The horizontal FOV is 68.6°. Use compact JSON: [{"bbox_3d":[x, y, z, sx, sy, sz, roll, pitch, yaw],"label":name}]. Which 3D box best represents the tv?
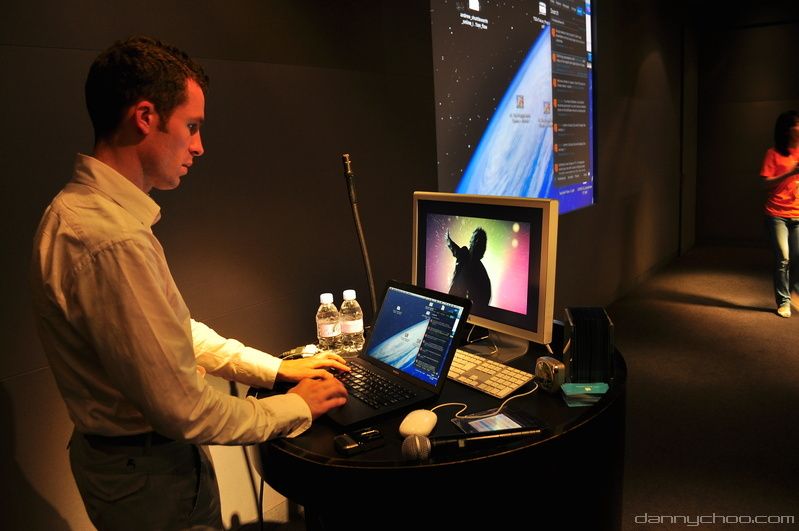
[{"bbox_3d":[0.359,0.063,2.412,0.631,0.658,0.216,4,6,40],"label":"tv"}]

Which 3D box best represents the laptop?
[{"bbox_3d":[-0.010,0.348,2.237,0.466,0.513,0.299,14,2,42],"label":"laptop"}]
